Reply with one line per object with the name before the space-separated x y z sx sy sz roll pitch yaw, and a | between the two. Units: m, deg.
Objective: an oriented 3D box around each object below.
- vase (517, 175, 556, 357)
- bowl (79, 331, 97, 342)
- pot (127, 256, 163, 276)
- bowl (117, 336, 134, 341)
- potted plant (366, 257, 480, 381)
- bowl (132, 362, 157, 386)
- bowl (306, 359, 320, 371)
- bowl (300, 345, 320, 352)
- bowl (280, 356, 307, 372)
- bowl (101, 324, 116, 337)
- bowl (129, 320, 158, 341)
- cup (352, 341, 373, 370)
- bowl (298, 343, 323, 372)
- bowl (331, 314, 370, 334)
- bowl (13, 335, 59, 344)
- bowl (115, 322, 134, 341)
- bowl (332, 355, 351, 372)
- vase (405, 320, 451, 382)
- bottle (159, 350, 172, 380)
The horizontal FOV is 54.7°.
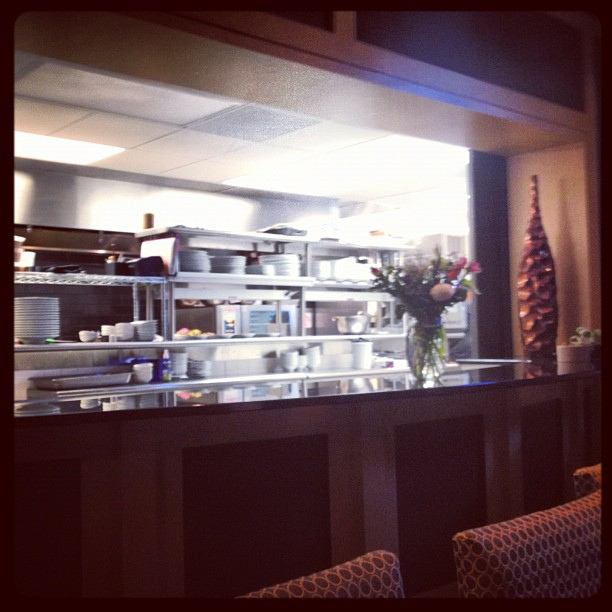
vase | 1.278 -0.229 3.304 0.205 0.716 0.151 -6 -3 20
bowl | -1.518 0.210 4.134 0.094 0.050 0.083 1 -7 -5
pot | -1.158 -0.261 4.292 0.220 0.119 0.163 -2 -5 44
bowl | -1.266 0.225 4.164 0.121 0.034 0.070 -2 -3 -25
potted plant | 0.461 0.073 2.435 0.482 0.476 0.542 -4 -9 15
bowl | -1.091 0.454 4.012 0.153 0.115 0.149 -2 -7 0
bowl | 0.060 0.458 4.654 0.124 0.105 0.106 -1 -3 4
bowl | 0.048 0.331 4.587 0.105 0.062 0.095 0 -2 -18
bowl | -0.096 0.445 4.634 0.190 0.096 0.125 1 -1 2
bowl | -1.415 0.171 4.231 0.106 0.062 0.096 1 0 14
bowl | -1.159 0.174 4.221 0.134 0.145 0.204 -5 -3 29
cup | 0.322 0.284 3.479 0.161 0.152 0.158 0 -6 0
bowl | 0.083 0.400 4.691 0.205 0.199 0.221 -1 -7 0
bowl | 0.428 0.154 5.200 0.288 0.165 0.269 -3 -3 0
bowl | -1.779 0.218 3.863 0.201 0.056 0.109 -2 -3 -24
bowl | -1.266 0.177 4.139 0.125 0.124 0.149 -3 -3 -16
bowl | 0.322 0.481 5.153 0.167 0.111 0.235 -3 -2 -2
vase | 0.480 0.171 2.328 0.159 0.219 0.218 -5 -3 10
bottle | -0.997 0.421 4.215 0.068 0.192 0.130 -4 -3 1
